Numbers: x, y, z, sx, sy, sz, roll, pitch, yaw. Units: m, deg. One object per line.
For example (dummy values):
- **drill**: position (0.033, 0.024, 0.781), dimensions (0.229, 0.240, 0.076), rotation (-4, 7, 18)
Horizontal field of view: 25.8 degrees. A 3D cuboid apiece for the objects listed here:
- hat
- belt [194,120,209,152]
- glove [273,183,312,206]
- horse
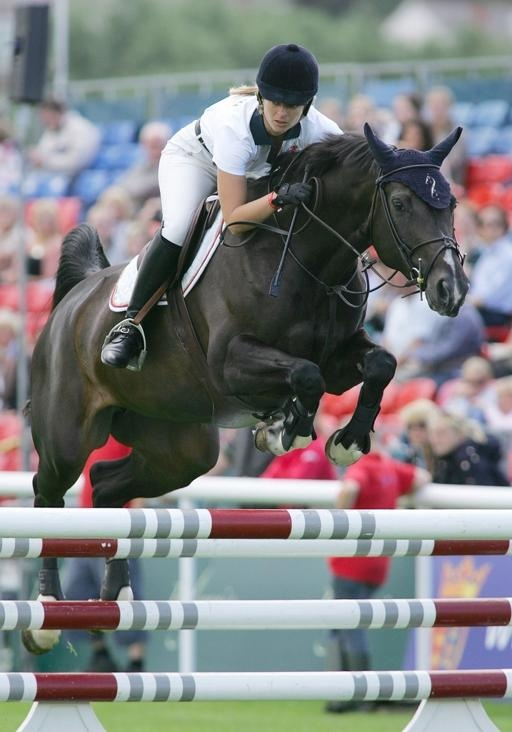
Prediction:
- **hat**: position (0.097, -0.929, 3.561), dimensions (0.195, 0.203, 0.235), rotation (6, 12, 8)
- **belt**: position (-0.189, -0.790, 3.854), dimensions (0.029, 0.099, 0.082), rotation (-15, 7, 16)
- **glove**: position (0.111, -0.533, 3.530), dimensions (0.097, 0.039, 0.068), rotation (-10, 46, 30)
- **horse**: position (-0.116, 0.034, 3.863), dimensions (2.121, 1.300, 0.573), rotation (-20, -18, 34)
